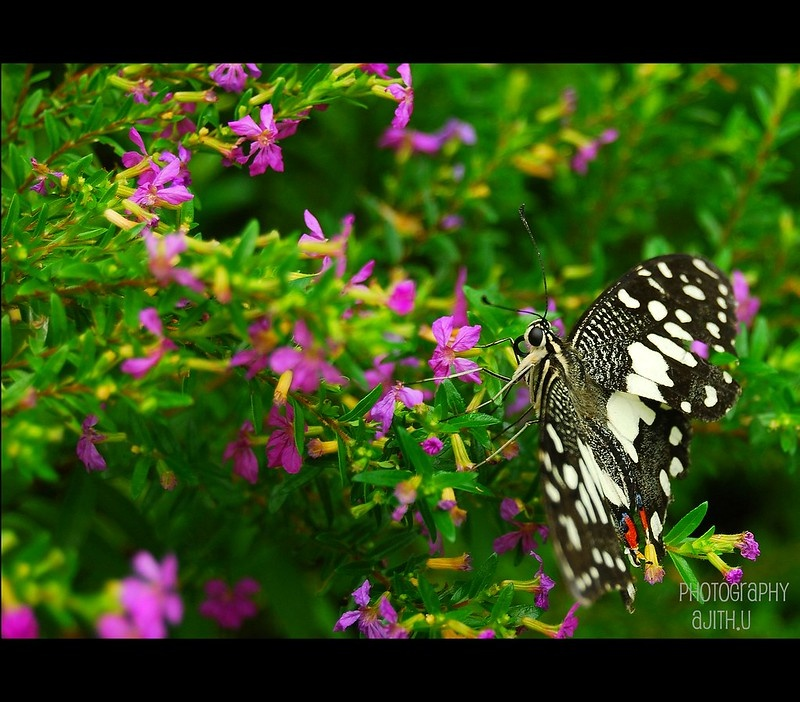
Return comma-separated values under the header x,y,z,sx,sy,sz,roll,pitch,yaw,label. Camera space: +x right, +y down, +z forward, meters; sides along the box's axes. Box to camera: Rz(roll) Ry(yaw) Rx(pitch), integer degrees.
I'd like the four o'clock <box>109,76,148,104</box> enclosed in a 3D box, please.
x,y,z,sx,sy,sz,roll,pitch,yaw,label
-0.697,-0.676,2.185,0.084,0.059,0.048,28,-9,-12,four o'clock

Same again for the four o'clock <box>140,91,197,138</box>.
x,y,z,sx,sy,sz,roll,pitch,yaw,label
-0.600,-0.622,2.259,0.122,0.130,0.048,13,8,-30,four o'clock

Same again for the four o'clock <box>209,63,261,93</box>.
x,y,z,sx,sy,sz,roll,pitch,yaw,label
-0.424,-0.698,2.165,0.128,0.082,0.088,0,23,-11,four o'clock
